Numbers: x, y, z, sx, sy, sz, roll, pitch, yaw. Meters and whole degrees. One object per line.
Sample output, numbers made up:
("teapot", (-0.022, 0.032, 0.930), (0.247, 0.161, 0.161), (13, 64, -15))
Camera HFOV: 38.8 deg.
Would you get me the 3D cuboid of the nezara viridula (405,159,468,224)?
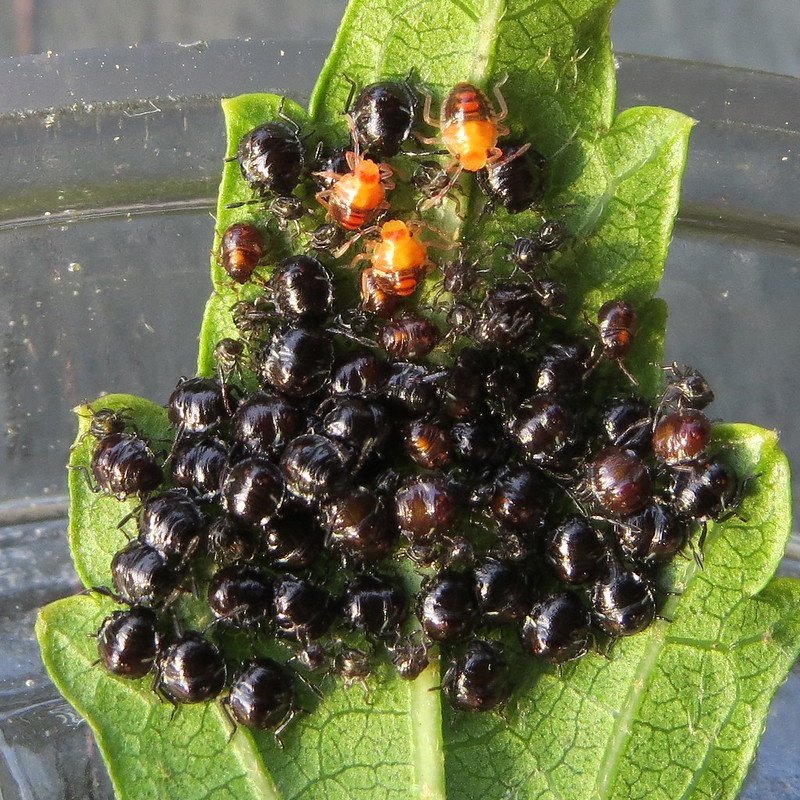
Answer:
("nezara viridula", (0.190, -1.153, 6.275), (0.337, 0.089, 0.316), (-21, -70, 14))
